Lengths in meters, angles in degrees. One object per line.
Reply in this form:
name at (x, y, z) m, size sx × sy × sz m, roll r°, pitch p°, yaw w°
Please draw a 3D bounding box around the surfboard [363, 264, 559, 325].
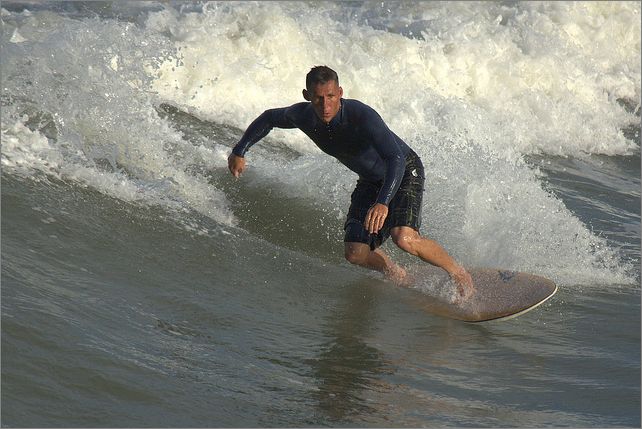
surfboard at (1.713, 0.977, 13.043) m, size 2.368 × 0.314 × 0.677 m, roll 7°, pitch 46°, yaw 28°
